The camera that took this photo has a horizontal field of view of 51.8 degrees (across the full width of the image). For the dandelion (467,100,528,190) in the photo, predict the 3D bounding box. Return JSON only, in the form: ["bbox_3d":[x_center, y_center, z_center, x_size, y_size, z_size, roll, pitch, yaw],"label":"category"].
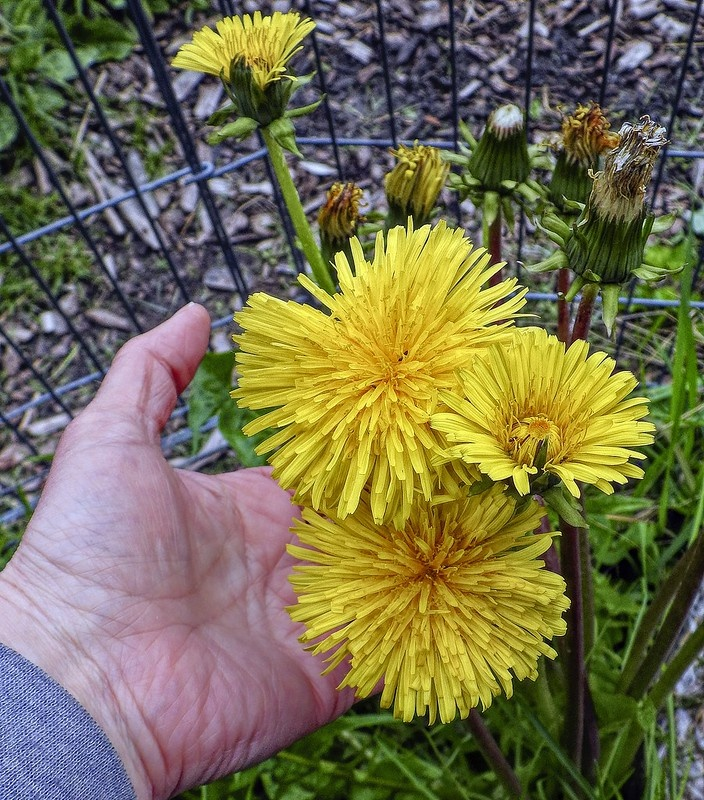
[{"bbox_3d":[0.236,-0.405,1.164,0.098,0.097,0.100,0,49,11],"label":"dandelion"}]

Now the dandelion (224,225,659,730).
[{"bbox_3d":[0.185,0.121,1.094,0.592,0.660,0.396,-13,3,21],"label":"dandelion"}]
